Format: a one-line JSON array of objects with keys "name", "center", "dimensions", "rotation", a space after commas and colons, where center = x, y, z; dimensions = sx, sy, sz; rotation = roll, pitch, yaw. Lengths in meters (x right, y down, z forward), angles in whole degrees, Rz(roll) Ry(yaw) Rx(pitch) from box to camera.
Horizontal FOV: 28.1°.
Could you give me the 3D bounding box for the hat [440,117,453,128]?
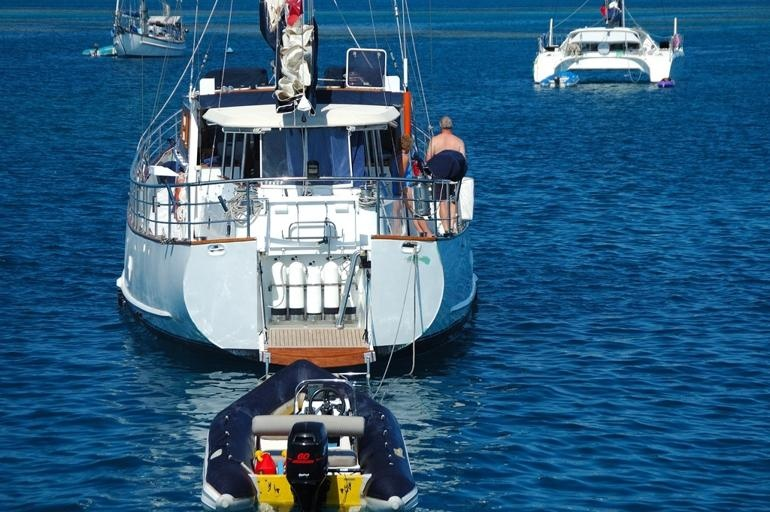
[{"name": "hat", "center": [1.918, -4.186, 48.273], "dimensions": [0.380, 0.389, 0.403], "rotation": [1, 29, 5]}]
